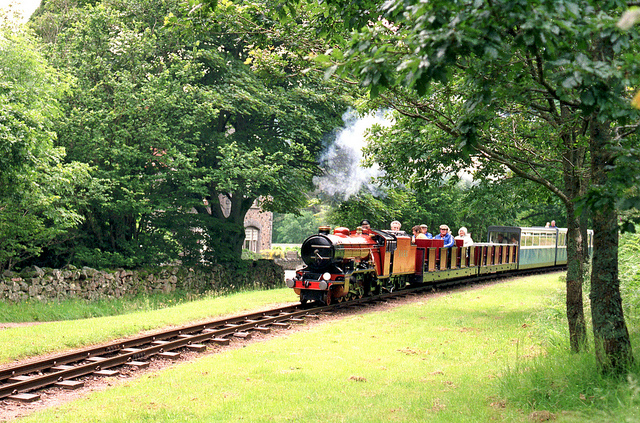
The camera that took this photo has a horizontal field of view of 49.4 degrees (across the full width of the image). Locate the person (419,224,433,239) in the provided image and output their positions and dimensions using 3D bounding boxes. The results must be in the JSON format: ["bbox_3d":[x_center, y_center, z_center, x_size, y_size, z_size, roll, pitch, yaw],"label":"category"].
[{"bbox_3d":[4.145,0.776,27.688,0.637,0.288,0.816,21,6,-10],"label":"person"}]

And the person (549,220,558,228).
[{"bbox_3d":[16.833,0.840,50.217,0.509,0.443,1.255,-14,3,19],"label":"person"}]

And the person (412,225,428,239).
[{"bbox_3d":[3.940,0.823,27.543,0.597,0.335,0.778,0,-2,8],"label":"person"}]

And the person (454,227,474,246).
[{"bbox_3d":[6.138,1.020,29.588,0.938,1.115,0.642,-3,-2,19],"label":"person"}]
